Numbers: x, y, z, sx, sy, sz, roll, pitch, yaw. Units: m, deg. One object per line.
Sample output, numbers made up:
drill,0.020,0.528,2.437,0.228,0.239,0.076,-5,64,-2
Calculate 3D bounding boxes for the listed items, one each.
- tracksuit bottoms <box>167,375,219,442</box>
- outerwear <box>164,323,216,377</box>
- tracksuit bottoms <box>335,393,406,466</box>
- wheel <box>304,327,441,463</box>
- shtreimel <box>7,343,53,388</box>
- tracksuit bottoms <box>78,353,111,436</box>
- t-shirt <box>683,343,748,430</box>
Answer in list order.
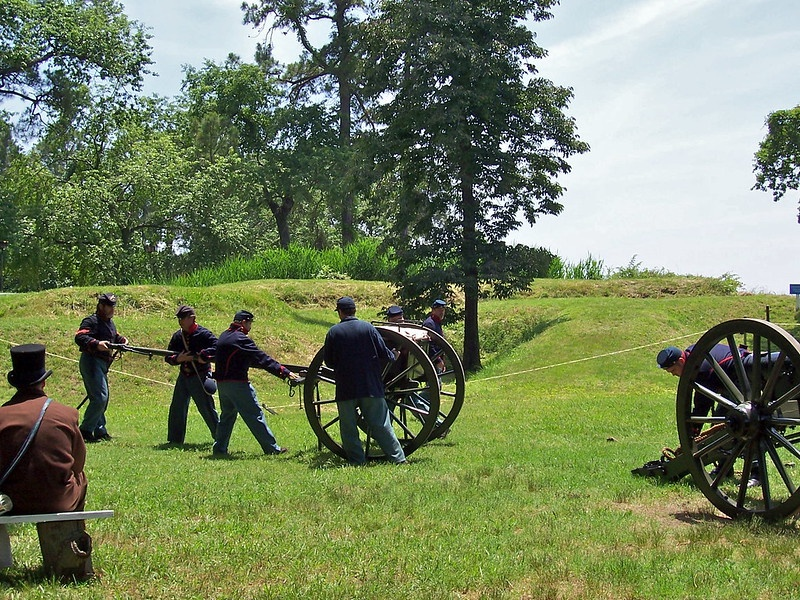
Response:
tracksuit bottoms,-3.996,2.108,19.873,1.045,1.549,0.548,6,23,0
outerwear,-3.924,0.910,19.325,1.011,0.926,0.547,-5,1,6
tracksuit bottoms,-0.498,2.174,17.447,0.855,0.395,1.232,-18,-44,6
wheel,-0.362,1.640,18.227,2.389,2.433,1.519,1,-2,18
shtreimel,-4.723,0.824,13.212,0.500,0.428,0.568,6,10,11
tracksuit bottoms,-5.839,1.820,19.669,0.531,1.715,0.518,-7,-14,10
t-shirt,4.670,1.236,15.055,0.519,0.447,1.225,-37,-31,-1
